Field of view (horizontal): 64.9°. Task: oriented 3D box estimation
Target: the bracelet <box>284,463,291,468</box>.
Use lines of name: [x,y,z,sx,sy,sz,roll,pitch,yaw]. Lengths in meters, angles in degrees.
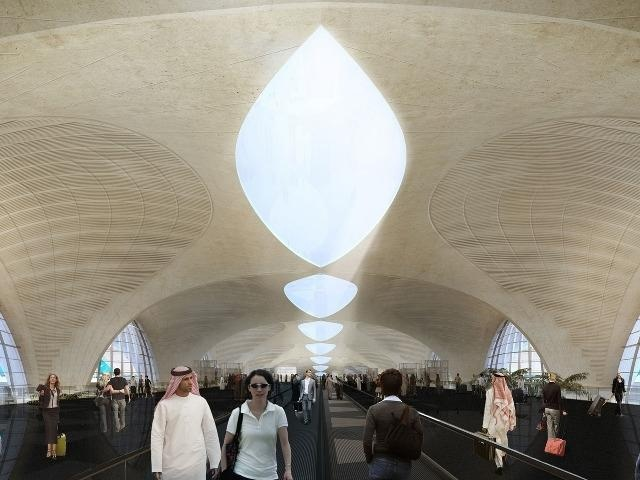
bracelet: [-0.389,2.741,6.127,0.040,0.041,0.054,-3,-12,15]
